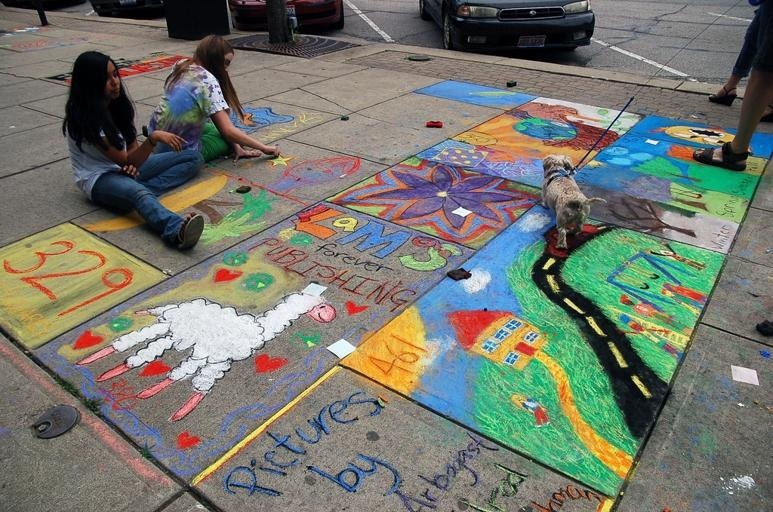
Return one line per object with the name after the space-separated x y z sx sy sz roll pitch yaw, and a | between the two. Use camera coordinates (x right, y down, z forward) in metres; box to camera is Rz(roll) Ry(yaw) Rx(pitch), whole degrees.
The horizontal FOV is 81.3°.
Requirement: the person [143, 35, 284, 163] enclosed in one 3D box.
-2.122 -1.953 5.402 1.244 1.173 1.924 -14 47 -31 | person

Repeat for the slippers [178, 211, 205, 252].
-1.751 -0.223 4.082 0.201 0.426 0.173 13 39 -43 | slippers

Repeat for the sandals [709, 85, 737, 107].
5.202 -2.460 6.932 0.268 0.256 0.412 -16 29 -18 | sandals
